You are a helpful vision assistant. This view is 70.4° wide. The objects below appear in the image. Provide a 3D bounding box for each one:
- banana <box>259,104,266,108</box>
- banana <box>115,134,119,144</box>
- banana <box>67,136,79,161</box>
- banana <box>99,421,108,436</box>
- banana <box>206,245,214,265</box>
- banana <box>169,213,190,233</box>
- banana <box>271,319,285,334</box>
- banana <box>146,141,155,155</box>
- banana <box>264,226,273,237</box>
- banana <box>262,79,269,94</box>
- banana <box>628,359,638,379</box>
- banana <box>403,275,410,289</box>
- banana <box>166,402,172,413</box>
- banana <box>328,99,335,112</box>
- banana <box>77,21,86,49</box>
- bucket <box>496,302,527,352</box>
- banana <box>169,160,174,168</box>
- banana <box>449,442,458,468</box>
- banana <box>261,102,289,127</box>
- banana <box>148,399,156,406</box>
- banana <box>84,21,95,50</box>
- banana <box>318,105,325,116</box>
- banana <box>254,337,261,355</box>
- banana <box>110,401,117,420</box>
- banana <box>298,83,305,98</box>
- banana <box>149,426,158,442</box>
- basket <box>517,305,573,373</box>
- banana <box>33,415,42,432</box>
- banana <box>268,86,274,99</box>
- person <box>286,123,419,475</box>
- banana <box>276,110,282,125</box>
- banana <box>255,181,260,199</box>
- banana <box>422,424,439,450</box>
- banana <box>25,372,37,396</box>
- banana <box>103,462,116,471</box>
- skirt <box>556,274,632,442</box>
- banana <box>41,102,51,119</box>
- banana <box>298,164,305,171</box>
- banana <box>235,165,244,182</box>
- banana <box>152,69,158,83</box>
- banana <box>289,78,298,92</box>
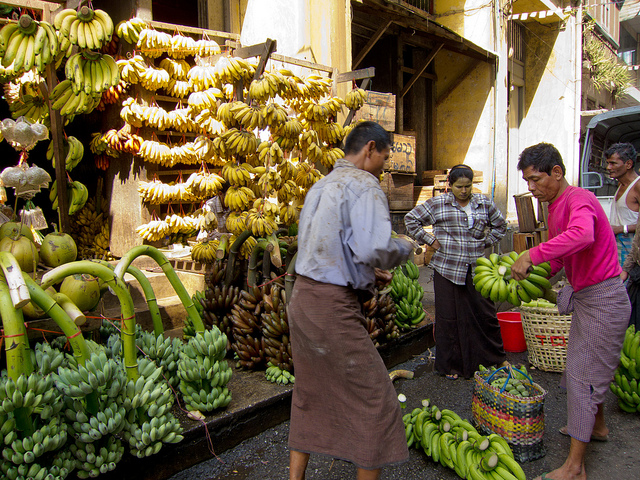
[{"bbox_3d":[-0.588,-1.378,4.646,0.064,0.042,0.091,0,8,-8],"label":"banana"},{"bbox_3d":[-2.512,-1.254,5.607,0.049,0.114,0.019,2,8,13],"label":"banana"},{"bbox_3d":[-2.505,-0.944,4.644,0.063,0.217,0.157,-1,-17,-27],"label":"banana"},{"bbox_3d":[-1.460,1.274,3.057,0.029,0.114,0.030,-8,7,14],"label":"banana"},{"bbox_3d":[-1.215,0.170,5.003,0.045,0.216,0.075,-7,10,1],"label":"banana"},{"bbox_3d":[-1.854,-0.223,5.897,0.071,0.218,0.187,11,18,22],"label":"banana"},{"bbox_3d":[-0.410,0.847,4.417,0.053,0.204,0.068,-38,6,-13],"label":"banana"},{"bbox_3d":[-2.068,-1.129,5.545,0.037,0.198,0.047,17,-10,8],"label":"banana"},{"bbox_3d":[-0.521,-0.092,4.590,0.062,0.108,0.110,2,8,9],"label":"banana"},{"bbox_3d":[-0.528,-1.556,4.523,0.042,0.190,0.035,7,-27,-23],"label":"banana"},{"bbox_3d":[2.975,1.228,4.309,0.068,0.199,0.047,-28,5,-35],"label":"banana"},{"bbox_3d":[1.092,0.525,5.762,0.062,0.188,0.047,-40,17,-30],"label":"banana"},{"bbox_3d":[-1.149,1.275,3.457,0.018,0.069,0.066,1,8,6],"label":"banana"},{"bbox_3d":[0.132,-1.601,5.360,0.037,0.173,0.042,-31,-7,17],"label":"banana"},{"bbox_3d":[-2.214,-1.917,4.239,0.058,0.299,0.088,-9,-9,3],"label":"banana"},{"bbox_3d":[2.504,1.246,5.959,0.425,0.390,0.453,2,-6,0],"label":"bucket"},{"bbox_3d":[-1.920,-0.968,5.855,0.068,0.107,0.025,0,29,-11],"label":"banana"},{"bbox_3d":[1.051,1.690,3.531,0.042,0.145,0.032,-5,-30,8],"label":"banana"},{"bbox_3d":[-0.449,-1.282,4.612,0.232,0.210,0.187,32,26,-8],"label":"banana"},{"bbox_3d":[-1.245,1.208,3.363,0.066,0.020,0.016,-36,-37,-4],"label":"banana"},{"bbox_3d":[-2.164,-1.914,4.245,0.051,0.267,0.081,-18,-10,19],"label":"banana"},{"bbox_3d":[0.016,-1.479,5.182,0.033,0.133,0.042,-24,-1,-33],"label":"banana"},{"bbox_3d":[-0.623,1.059,4.512,0.055,0.150,0.051,-4,9,-31],"label":"banana"},{"bbox_3d":[-1.433,1.188,3.145,0.025,0.107,0.028,-4,-5,-3],"label":"banana"},{"bbox_3d":[-0.214,-1.720,5.170,0.041,0.142,0.123,5,9,31],"label":"banana"},{"bbox_3d":[-1.202,1.403,3.268,0.030,0.126,0.040,7,27,-7],"label":"banana"},{"bbox_3d":[2.755,1.132,5.293,0.651,0.650,0.750,6,-10,-10],"label":"basket"},{"bbox_3d":[-1.857,1.201,2.977,0.018,0.082,0.067,2,8,11],"label":"banana"},{"bbox_3d":[-0.494,-1.508,4.609,0.056,0.089,0.138,0,8,-3],"label":"banana"},{"bbox_3d":[0.185,0.420,3.059,0.826,2.419,0.531,2,8,10],"label":"person"},{"bbox_3d":[-0.409,-1.243,4.573,0.033,0.137,0.042,-15,9,-34],"label":"banana"},{"bbox_3d":[-0.664,-0.528,4.805,0.046,0.155,0.126,0,8,-9],"label":"banana"},{"bbox_3d":[0.914,1.616,3.764,0.170,0.157,0.079,-6,10,-43],"label":"banana"},{"bbox_3d":[-1.840,0.904,2.895,0.064,0.110,0.149,-3,9,-26],"label":"banana"},{"bbox_3d":[-1.447,1.565,3.140,0.084,0.056,0.045,32,-13,-38],"label":"banana"},{"bbox_3d":[2.113,0.884,3.483,0.463,1.219,0.456,4,8,20],"label":"skirt"},{"bbox_3d":[-2.869,-1.363,4.730,0.045,0.187,0.328,-5,10,-38],"label":"banana"},{"bbox_3d":[-0.210,-0.842,5.264,0.064,0.065,0.025,3,8,13],"label":"banana"},{"bbox_3d":[-0.828,-0.676,4.644,0.104,0.139,0.065,6,9,33],"label":"banana"},{"bbox_3d":[-1.984,-1.970,5.446,0.033,0.168,0.038,9,6,-1],"label":"banana"},{"bbox_3d":[-0.290,-1.697,4.945,0.028,0.133,0.073,-4,12,30],"label":"banana"}]
